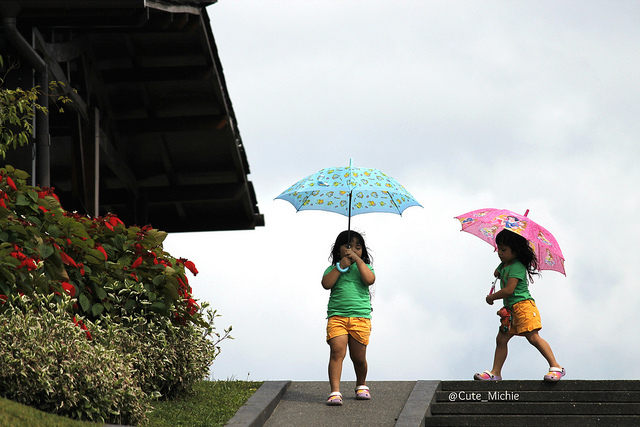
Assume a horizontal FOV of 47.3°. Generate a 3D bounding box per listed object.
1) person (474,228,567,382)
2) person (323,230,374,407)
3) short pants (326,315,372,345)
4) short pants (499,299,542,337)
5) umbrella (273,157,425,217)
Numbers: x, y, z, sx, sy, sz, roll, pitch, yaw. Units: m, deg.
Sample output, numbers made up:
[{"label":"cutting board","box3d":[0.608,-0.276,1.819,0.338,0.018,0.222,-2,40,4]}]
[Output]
[{"label":"person","box3d":[2.329,1.133,8.849,0.955,1.833,0.810,-4,-29,26]},{"label":"person","box3d":[0.371,1.229,8.393,0.534,1.920,0.822,-5,-29,27]},{"label":"short pants","box3d":[0.361,1.351,8.399,0.499,0.369,0.289,2,-26,24]},{"label":"short pants","box3d":[2.503,1.251,9.036,0.305,0.406,0.561,-9,-3,-15]},{"label":"umbrella","box3d":[0.377,-0.215,8.722,1.655,0.603,1.700,8,-11,-23]}]
